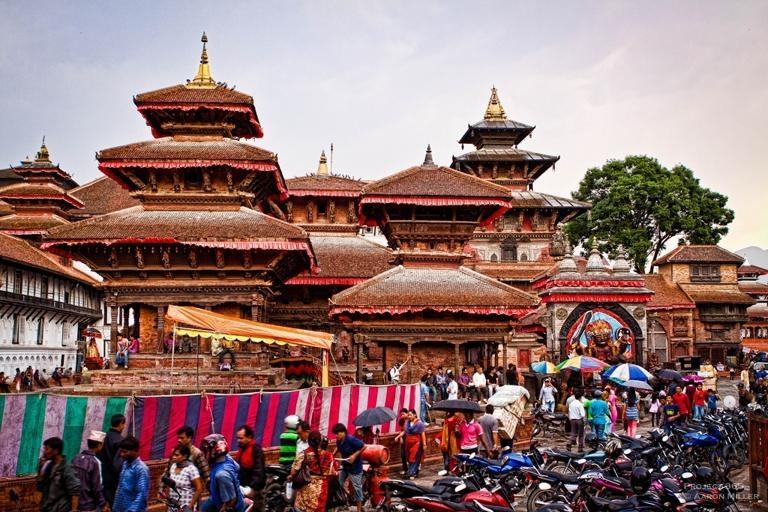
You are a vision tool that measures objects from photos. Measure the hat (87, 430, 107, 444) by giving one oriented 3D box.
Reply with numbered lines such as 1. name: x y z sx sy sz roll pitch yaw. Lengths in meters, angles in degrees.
1. hat: -7.359 4.648 23.247 0.354 0.252 0.435 4 -3 -7
